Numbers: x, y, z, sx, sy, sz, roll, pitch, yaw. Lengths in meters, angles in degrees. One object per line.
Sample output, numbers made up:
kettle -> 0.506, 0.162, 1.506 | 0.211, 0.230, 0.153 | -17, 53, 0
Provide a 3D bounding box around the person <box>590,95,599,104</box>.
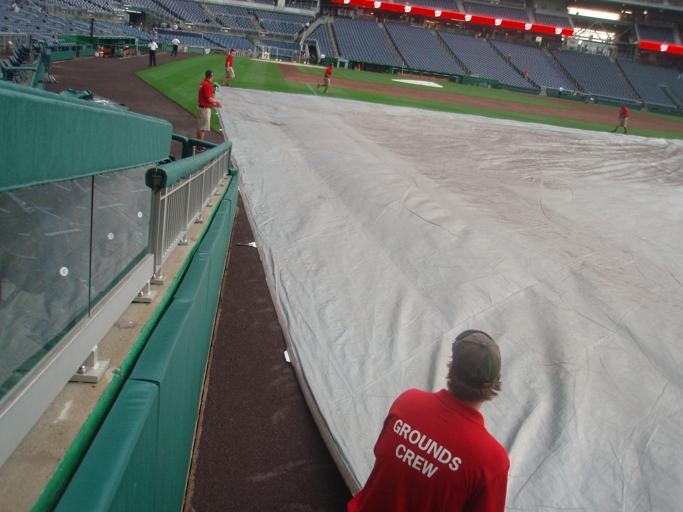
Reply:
person -> 20.735, -12.959, 41.636 | 0.901, 0.539, 0.452 | -13, 29, -42
